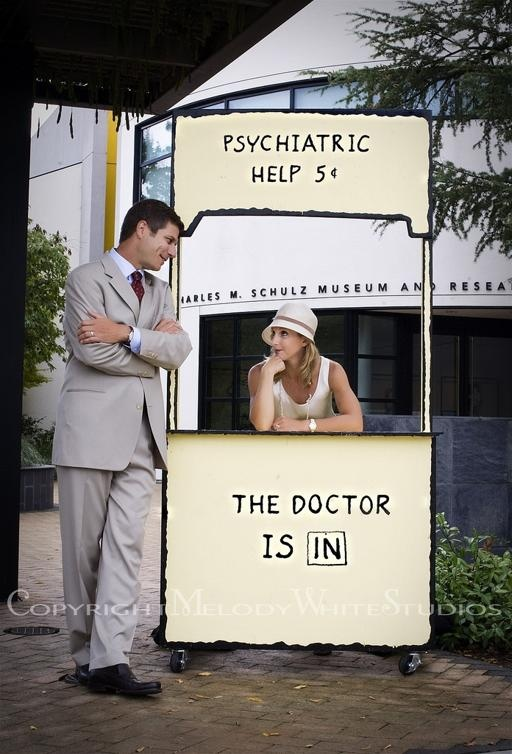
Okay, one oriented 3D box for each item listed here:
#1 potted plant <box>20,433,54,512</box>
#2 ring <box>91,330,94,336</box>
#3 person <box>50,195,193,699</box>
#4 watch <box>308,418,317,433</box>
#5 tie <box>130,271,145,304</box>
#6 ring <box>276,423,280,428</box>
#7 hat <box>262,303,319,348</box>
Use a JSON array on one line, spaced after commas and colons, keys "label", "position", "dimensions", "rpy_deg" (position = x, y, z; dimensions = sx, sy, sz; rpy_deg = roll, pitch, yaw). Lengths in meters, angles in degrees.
[{"label": "potted plant", "position": [-2.885, 1.349, 13.643], "dimensions": [0.423, 0.836, 1.400], "rpy_deg": [1, -1, -12]}, {"label": "ring", "position": [-0.655, -0.176, 4.122], "dimensions": [0.005, 0.018, 0.017], "rpy_deg": [-6, -1, -11]}, {"label": "person", "position": [-0.563, 0.252, 4.297], "dimensions": [0.555, 2.049, 0.500], "rpy_deg": [1, -1, -12]}, {"label": "watch", "position": [0.263, 0.231, 4.874], "dimensions": [0.029, 0.050, 0.049], "rpy_deg": [-2, -3, 1]}, {"label": "tie", "position": [-0.508, -0.390, 4.418], "dimensions": [0.025, 0.113, 0.065], "rpy_deg": [-5, -14, 24]}, {"label": "ring", "position": [0.103, 0.232, 4.895], "dimensions": [0.003, 0.015, 0.015], "rpy_deg": [-5, 11, -38]}, {"label": "hat", "position": [0.198, -0.252, 5.110], "dimensions": [0.200, 0.142, 0.229], "rpy_deg": [14, -28, 23]}]
